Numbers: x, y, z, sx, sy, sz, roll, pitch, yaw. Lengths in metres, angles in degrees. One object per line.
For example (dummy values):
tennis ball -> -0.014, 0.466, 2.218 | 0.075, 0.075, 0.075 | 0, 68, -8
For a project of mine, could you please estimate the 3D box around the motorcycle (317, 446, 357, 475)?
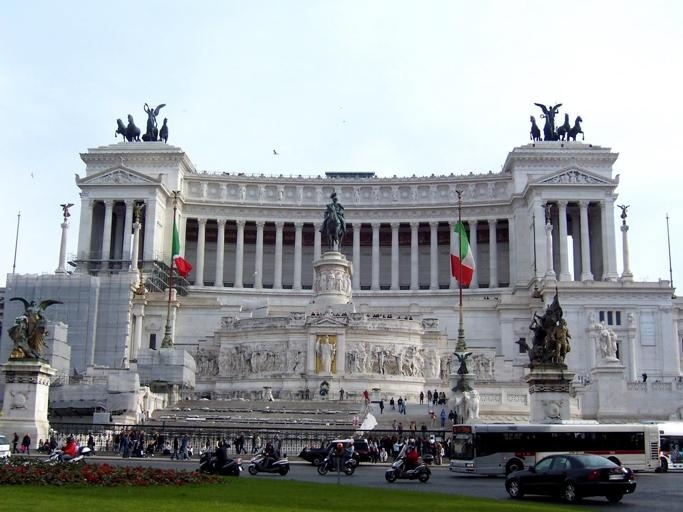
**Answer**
motorcycle -> -0.133, 8.191, 39.021 | 1.794, 1.262, 1.116 | 1, -26, 0

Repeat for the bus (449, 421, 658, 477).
bus -> 9.198, 8.100, 41.995 | 8.063, 2.083, 2.593 | 0, 4, -2

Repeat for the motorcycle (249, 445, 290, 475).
motorcycle -> -2.935, 8.214, 38.942 | 1.690, 1.255, 0.972 | -5, -12, 22

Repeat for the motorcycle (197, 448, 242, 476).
motorcycle -> -4.698, 7.963, 36.878 | 1.735, 0.890, 1.370 | -6, -13, 28

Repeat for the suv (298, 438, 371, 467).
suv -> -0.226, 8.816, 43.434 | 2.792, 1.141, 1.630 | 4, -12, -11
